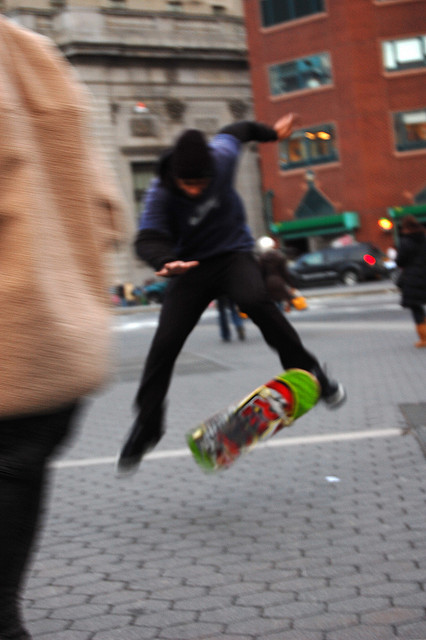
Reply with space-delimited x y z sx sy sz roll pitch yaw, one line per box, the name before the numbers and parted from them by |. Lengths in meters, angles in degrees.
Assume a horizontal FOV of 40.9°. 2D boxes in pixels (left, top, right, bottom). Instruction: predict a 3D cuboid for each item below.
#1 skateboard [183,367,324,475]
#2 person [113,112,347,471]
skateboard | 0.225 0.494 2.803 0.751 0.168 0.365 -30 59 -2
person | 0.047 -0.204 2.761 1.198 1.675 0.820 -9 0 -2
